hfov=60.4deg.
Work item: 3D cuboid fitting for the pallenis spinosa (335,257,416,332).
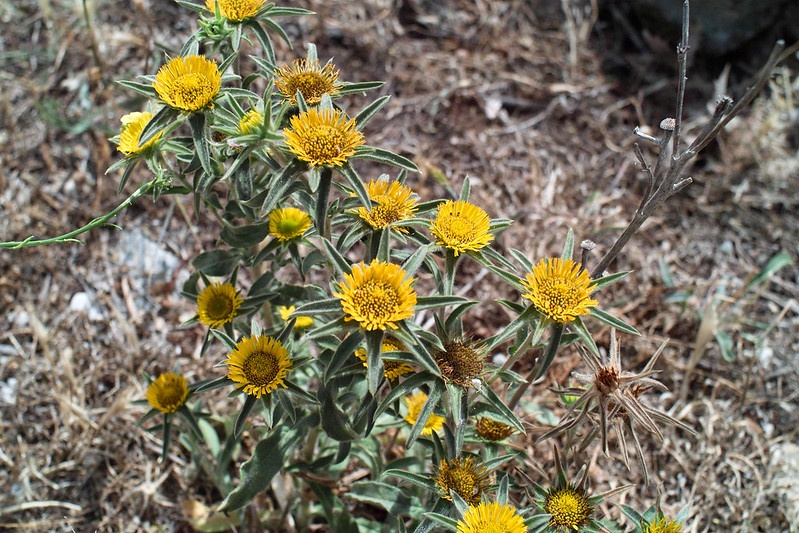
[{"bbox_3d":[-0.110,0.154,3.463,0.392,0.169,0.370,-19,83,-6],"label":"pallenis spinosa"}]

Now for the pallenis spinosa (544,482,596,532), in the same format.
[{"bbox_3d":[0.945,1.366,3.838,0.257,0.064,0.247,-17,83,-6],"label":"pallenis spinosa"}]

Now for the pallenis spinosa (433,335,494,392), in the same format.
[{"bbox_3d":[0.313,0.514,3.642,0.228,0.102,0.246,-35,85,-7],"label":"pallenis spinosa"}]

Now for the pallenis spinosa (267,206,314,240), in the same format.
[{"bbox_3d":[-0.620,-0.237,3.879,0.246,0.065,0.194,-9,82,-5],"label":"pallenis spinosa"}]

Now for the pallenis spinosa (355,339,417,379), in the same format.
[{"bbox_3d":[-0.033,0.534,3.753,0.241,0.251,0.100,14,35,18],"label":"pallenis spinosa"}]

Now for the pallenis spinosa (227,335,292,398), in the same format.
[{"bbox_3d":[-0.779,0.551,3.771,0.351,0.117,0.336,19,81,0],"label":"pallenis spinosa"}]

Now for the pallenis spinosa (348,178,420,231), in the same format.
[{"bbox_3d":[-0.111,-0.340,3.792,0.366,0.362,0.176,15,63,-31],"label":"pallenis spinosa"}]

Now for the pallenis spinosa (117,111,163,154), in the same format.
[{"bbox_3d":[-1.470,-0.774,3.822,0.232,0.251,0.093,37,59,9],"label":"pallenis spinosa"}]

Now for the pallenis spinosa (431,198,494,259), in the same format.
[{"bbox_3d":[0.345,-0.210,3.690,0.302,0.283,0.134,27,55,-34],"label":"pallenis spinosa"}]

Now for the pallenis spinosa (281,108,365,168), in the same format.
[{"bbox_3d":[-0.418,-0.651,3.579,0.430,0.443,0.173,-2,70,1],"label":"pallenis spinosa"}]

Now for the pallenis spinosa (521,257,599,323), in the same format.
[{"bbox_3d":[0.816,0.141,3.593,0.345,0.151,0.364,-21,38,-34],"label":"pallenis spinosa"}]

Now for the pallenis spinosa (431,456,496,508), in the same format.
[{"bbox_3d":[0.360,1.198,3.819,0.308,0.086,0.232,8,81,-2],"label":"pallenis spinosa"}]

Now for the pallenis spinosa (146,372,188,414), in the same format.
[{"bbox_3d":[-1.372,0.780,4.207,0.247,0.317,0.242,2,81,-2],"label":"pallenis spinosa"}]
